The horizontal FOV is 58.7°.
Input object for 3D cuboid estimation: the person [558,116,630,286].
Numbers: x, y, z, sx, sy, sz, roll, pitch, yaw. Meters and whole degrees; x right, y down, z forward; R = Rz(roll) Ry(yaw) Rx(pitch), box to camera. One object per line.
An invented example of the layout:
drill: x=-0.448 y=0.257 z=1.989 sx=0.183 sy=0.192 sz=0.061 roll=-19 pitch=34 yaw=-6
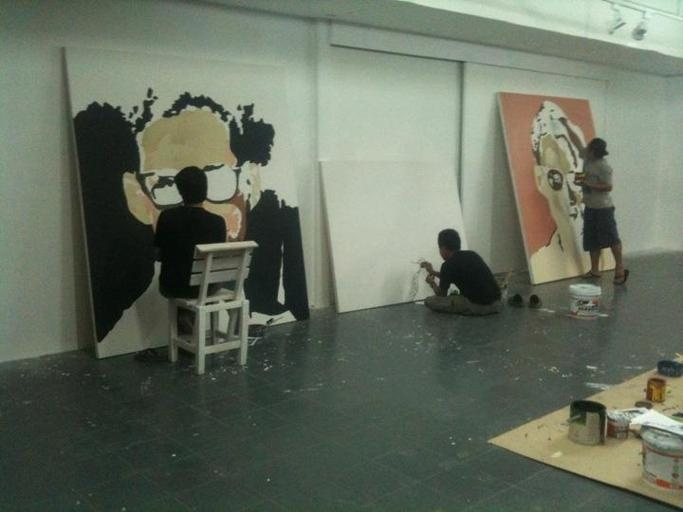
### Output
person: x=3.497 y=-0.603 z=8.143 sx=0.724 sy=1.897 sz=0.468 roll=7 pitch=16 yaw=27

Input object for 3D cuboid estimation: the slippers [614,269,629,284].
slippers: x=3.742 y=0.304 z=8.107 sx=0.073 sy=0.319 sz=0.119 roll=12 pitch=0 yaw=-1

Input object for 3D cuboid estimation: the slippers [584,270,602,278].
slippers: x=3.498 y=0.262 z=8.471 sx=0.249 sy=0.105 sz=0.099 roll=4 pitch=10 yaw=13

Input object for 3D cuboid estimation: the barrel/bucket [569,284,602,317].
barrel/bucket: x=2.661 y=0.481 z=6.641 sx=0.319 sy=0.294 sz=0.319 roll=-3 pitch=11 yaw=1

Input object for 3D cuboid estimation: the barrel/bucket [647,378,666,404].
barrel/bucket: x=2.302 y=1.000 z=4.498 sx=0.143 sy=0.166 sz=0.155 roll=-1 pitch=5 yaw=0

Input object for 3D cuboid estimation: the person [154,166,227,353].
person: x=-1.252 y=-0.176 z=5.035 sx=0.582 sy=1.074 sz=0.406 roll=-4 pitch=15 yaw=-16

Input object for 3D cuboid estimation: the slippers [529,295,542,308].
slippers: x=2.215 y=0.512 z=6.914 sx=0.123 sy=0.143 sz=0.143 roll=-2 pitch=-6 yaw=24

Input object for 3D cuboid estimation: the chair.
chair: x=-1.106 y=0.395 z=5.198 sx=0.738 sy=1.059 sz=0.703 roll=2 pitch=7 yaw=-3

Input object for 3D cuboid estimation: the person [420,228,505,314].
person: x=1.261 y=0.168 z=6.868 sx=0.824 sy=0.973 sz=0.908 roll=-12 pitch=9 yaw=-33
